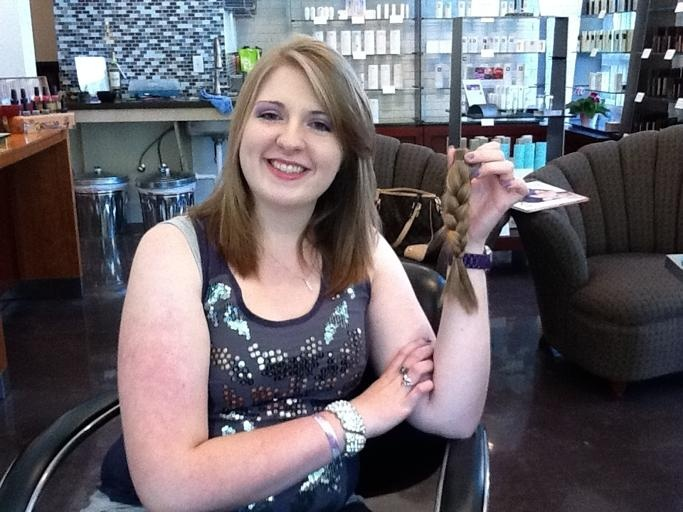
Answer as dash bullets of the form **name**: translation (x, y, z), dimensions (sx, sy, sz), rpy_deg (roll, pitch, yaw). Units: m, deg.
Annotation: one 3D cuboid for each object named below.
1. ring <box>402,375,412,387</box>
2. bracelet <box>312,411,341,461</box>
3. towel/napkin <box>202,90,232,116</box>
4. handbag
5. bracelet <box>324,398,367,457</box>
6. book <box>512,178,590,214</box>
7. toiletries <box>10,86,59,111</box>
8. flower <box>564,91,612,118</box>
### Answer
- **ring**: translation (0.150, 0.289, 1.168), dimensions (0.015, 0.024, 0.007), rpy_deg (-7, -27, 2)
- **bracelet**: translation (-0.025, 0.370, 1.039), dimensions (0.017, 0.076, 0.072), rpy_deg (-16, -25, -18)
- **towel/napkin**: translation (-1.257, -1.567, 5.000), dimensions (0.301, 0.135, 0.236), rpy_deg (28, 22, 25)
- **handbag**: translation (0.364, -0.210, 2.747), dimensions (0.303, 0.313, 0.146), rpy_deg (8, 30, 23)
- **bracelet**: translation (0.018, 0.364, 1.124), dimensions (0.087, 0.112, 0.104), rpy_deg (-18, 9, -42)
- **book**: translation (1.031, -0.296, 2.514), dimensions (0.303, 0.038, 0.349), rpy_deg (3, 25, 10)
- **toiletries**: translation (-2.275, -1.148, 3.760), dimensions (0.197, 0.169, 0.696), rpy_deg (-6, 14, -12)
- **flower**: translation (2.530, -1.542, 5.296), dimensions (0.312, 0.160, 0.331), rpy_deg (2, 25, 0)
